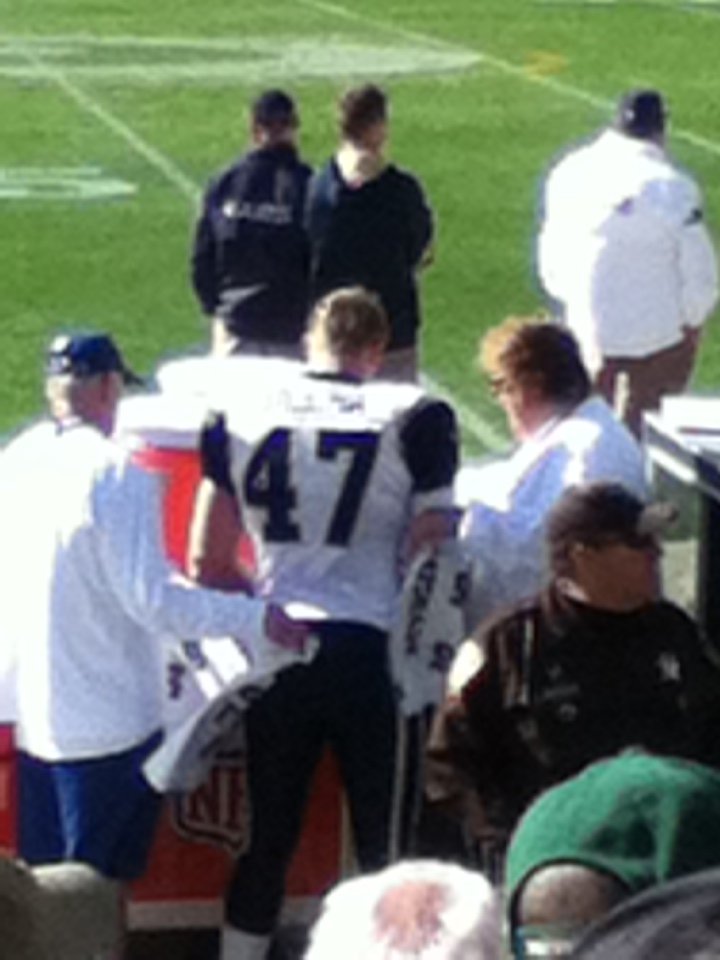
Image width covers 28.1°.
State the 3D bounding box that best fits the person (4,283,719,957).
[{"bbox_3d":[-0.187,0.269,2.688,0.839,1.258,0.411,8,15,9],"label":"person"}]

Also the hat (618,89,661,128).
[{"bbox_3d":[0.842,-1.127,4.322,0.134,0.128,0.149,7,14,7],"label":"hat"}]

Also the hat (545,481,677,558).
[{"bbox_3d":[0.410,0.064,2.403,0.187,0.140,0.128,-12,-11,2],"label":"hat"}]
